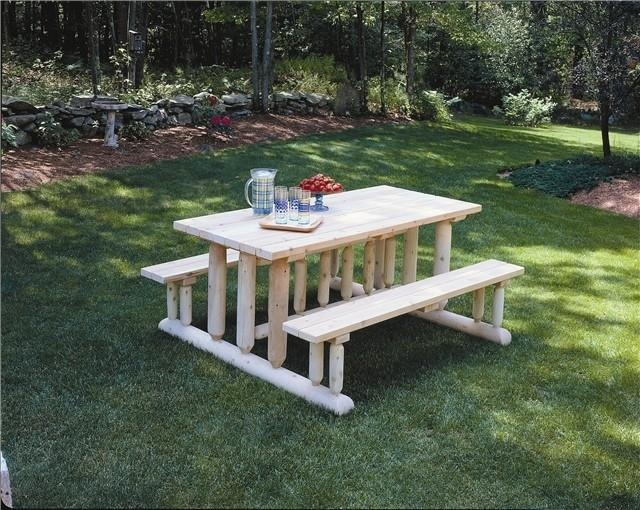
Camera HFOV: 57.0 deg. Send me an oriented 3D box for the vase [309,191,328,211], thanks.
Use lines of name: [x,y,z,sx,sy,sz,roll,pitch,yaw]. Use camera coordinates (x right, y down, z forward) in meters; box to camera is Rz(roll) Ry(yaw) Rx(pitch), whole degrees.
vase: [-0.016,-0.474,5.364,0.145,0.160,0.159,-3,6,-24]

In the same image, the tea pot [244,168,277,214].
tea pot: [-0.502,-0.535,5.134,0.294,0.353,0.232,-5,14,-29]
